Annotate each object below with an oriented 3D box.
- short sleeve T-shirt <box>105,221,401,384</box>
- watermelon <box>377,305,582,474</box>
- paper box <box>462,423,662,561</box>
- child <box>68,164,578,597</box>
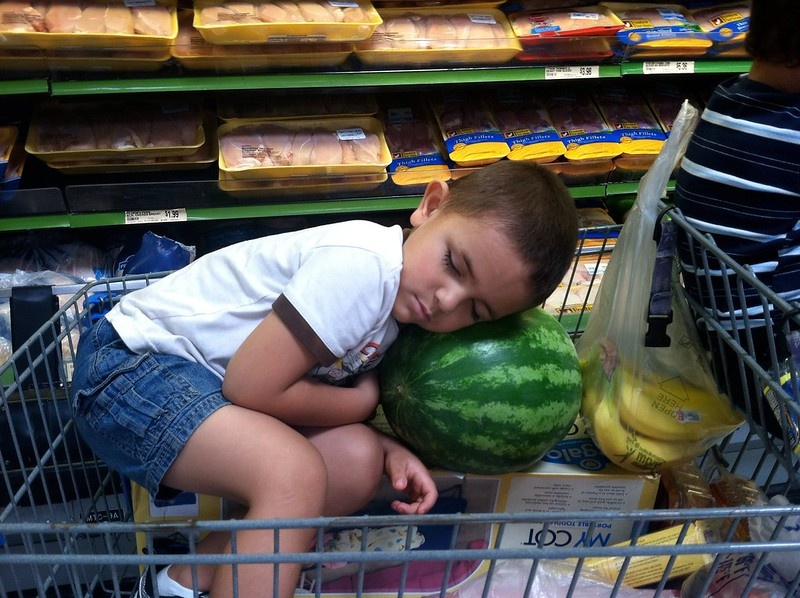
[{"bbox_3d":[-0.289,0.056,1.206,0.524,0.191,0.386,-5,15,7],"label":"short sleeve T-shirt"},{"bbox_3d":[0.202,0.202,1.357,0.445,0.315,0.322,-5,-5,-17],"label":"watermelon"},{"bbox_3d":[0.395,0.463,1.402,0.539,0.333,0.301,1,11,-1],"label":"paper box"},{"bbox_3d":[-0.154,0.063,1.177,1.076,0.519,0.620,-12,38,-15],"label":"child"}]
